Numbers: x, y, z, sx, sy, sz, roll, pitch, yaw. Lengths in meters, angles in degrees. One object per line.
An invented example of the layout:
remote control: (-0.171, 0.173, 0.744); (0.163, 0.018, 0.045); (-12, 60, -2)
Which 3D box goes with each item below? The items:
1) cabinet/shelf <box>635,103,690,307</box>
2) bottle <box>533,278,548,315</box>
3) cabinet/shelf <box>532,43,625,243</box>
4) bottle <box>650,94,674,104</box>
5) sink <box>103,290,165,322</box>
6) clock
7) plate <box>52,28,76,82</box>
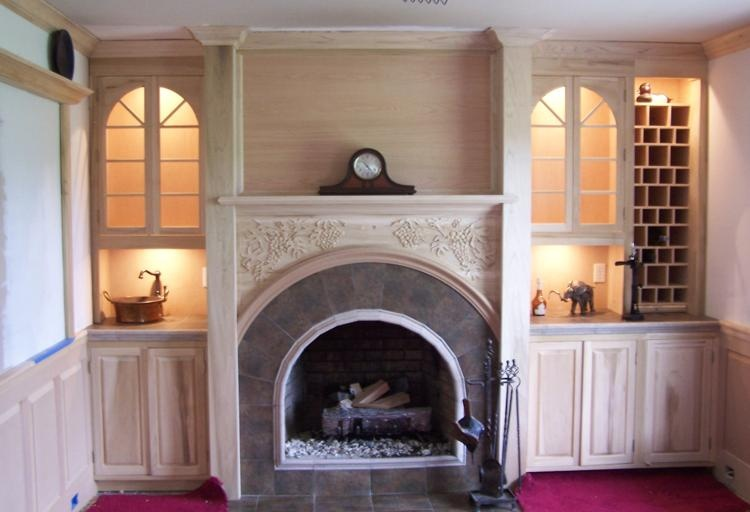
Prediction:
cabinet/shelf: (2.431, -0.426, 5.644); (0.478, 1.528, 0.364); (-2, -1, 18)
bottle: (1.379, 0.339, 5.616); (0.099, 0.234, 0.295); (-2, -1, 17)
cabinet/shelf: (1.670, -0.885, 5.467); (0.823, 1.310, 0.292); (-2, -1, -8)
bottle: (2.422, -1.322, 5.654); (0.137, 0.083, 0.220); (-3, -2, 30)
sink: (-1.952, 0.403, 5.406); (0.373, 0.163, 0.290); (1, 3, -6)
clock: (-0.065, -0.623, 5.059); (0.794, 0.343, 0.075); (-3, 8, -27)
plate: (-2.276, -1.482, 4.903); (0.089, 0.337, 0.210); (-2, -1, 14)
